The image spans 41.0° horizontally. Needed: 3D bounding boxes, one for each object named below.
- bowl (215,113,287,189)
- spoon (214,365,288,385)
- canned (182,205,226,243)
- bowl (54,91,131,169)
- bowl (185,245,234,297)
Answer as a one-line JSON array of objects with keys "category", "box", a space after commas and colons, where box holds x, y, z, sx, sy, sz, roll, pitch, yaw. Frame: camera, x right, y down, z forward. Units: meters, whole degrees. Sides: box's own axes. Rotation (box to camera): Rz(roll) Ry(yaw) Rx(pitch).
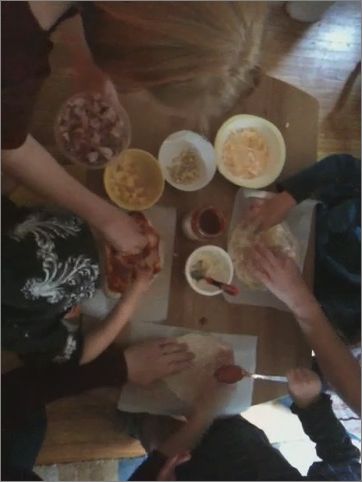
[{"category": "bowl", "box": [0.279, -0.363, 2.074, 0.282, 0.336, 0.104, -42, 48, 21]}, {"category": "spoon", "box": [0.257, 0.572, 2.110, 0.445, 0.094, 0.090, 4, 63, -7]}, {"category": "canned", "box": [0.090, -0.068, 2.008, 0.185, 0.251, 0.123, 14, 81, 3]}, {"category": "bowl", "box": [-0.340, -0.416, 1.829, 0.269, 0.094, 0.276, 0, 79, -1]}, {"category": "bowl", "box": [0.113, 0.117, 1.954, 0.185, 0.105, 0.200, 0, 79, 0]}]
